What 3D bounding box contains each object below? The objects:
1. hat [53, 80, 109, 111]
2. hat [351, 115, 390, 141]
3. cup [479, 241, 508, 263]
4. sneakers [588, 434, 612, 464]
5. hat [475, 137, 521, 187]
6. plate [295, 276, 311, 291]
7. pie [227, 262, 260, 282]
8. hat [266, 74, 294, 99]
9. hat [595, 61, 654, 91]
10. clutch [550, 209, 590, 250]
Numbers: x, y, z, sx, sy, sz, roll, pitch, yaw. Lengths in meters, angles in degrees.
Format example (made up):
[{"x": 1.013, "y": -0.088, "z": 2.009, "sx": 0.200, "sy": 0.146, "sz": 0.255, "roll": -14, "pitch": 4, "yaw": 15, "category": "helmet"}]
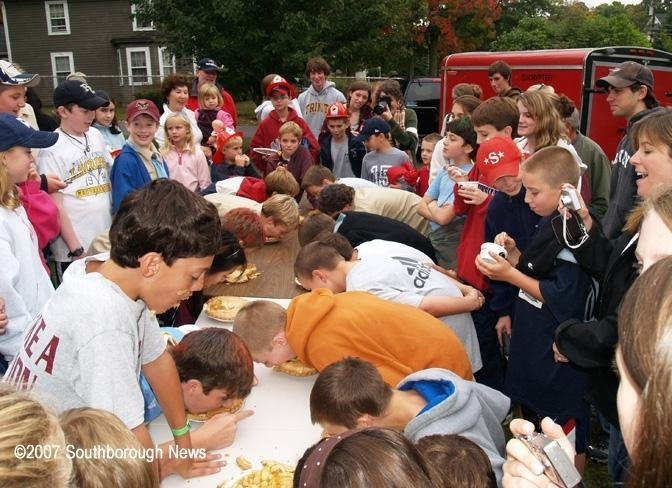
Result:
[{"x": -2.137, "y": -1.246, "z": 5.594, "sx": 0.371, "sy": 0.207, "sz": 0.235, "roll": -11, "pitch": 30, "yaw": -11, "category": "hat"}, {"x": 0.402, "y": -1.237, "z": 6.957, "sx": 0.321, "sy": 0.193, "sz": 0.218, "roll": -6, "pitch": 31, "yaw": 6, "category": "hat"}, {"x": 1.005, "y": 0.038, "z": 4.201, "sx": 0.130, "sy": 0.135, "sz": 0.091, "roll": 15, "pitch": 66, "yaw": 41, "category": "cup"}, {"x": 1.855, "y": 1.432, "z": 4.642, "sx": 0.110, "sy": 0.141, "sz": 0.335, "roll": -8, "pitch": -6, "yaw": 27, "category": "sneakers"}, {"x": 1.107, "y": -0.540, "z": 4.507, "sx": 0.247, "sy": 0.209, "sz": 0.362, "roll": -21, "pitch": 25, "yaw": 36, "category": "hat"}, {"x": -0.221, "y": 0.279, "z": 4.625, "sx": 0.062, "sy": 0.081, "sz": 0.071, "roll": 34, "pitch": -7, "yaw": 44, "category": "plate"}, {"x": -0.686, "y": 0.225, "z": 5.020, "sx": 0.131, "sy": 0.045, "sz": 0.174, "roll": 5, "pitch": 17, "yaw": 20, "category": "pie"}, {"x": -0.686, "y": -1.863, "z": 8.118, "sx": 0.286, "sy": 0.204, "sz": 0.394, "roll": -1, "pitch": -30, "yaw": 2, "category": "hat"}, {"x": 2.474, "y": -1.432, "z": 5.664, "sx": 0.499, "sy": 0.260, "sz": 0.325, "roll": 9, "pitch": 15, "yaw": 4, "category": "hat"}, {"x": 1.382, "y": -0.085, "z": 3.909, "sx": 0.082, "sy": 0.226, "sz": 0.163, "roll": -3, "pitch": -19, "yaw": -44, "category": "clutch"}]
